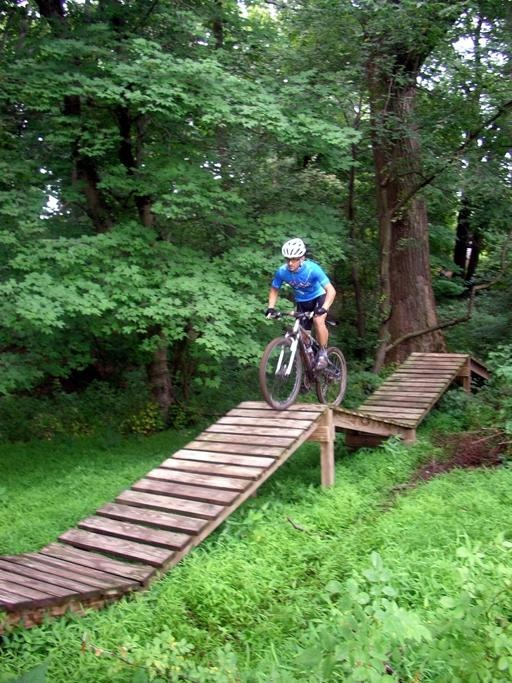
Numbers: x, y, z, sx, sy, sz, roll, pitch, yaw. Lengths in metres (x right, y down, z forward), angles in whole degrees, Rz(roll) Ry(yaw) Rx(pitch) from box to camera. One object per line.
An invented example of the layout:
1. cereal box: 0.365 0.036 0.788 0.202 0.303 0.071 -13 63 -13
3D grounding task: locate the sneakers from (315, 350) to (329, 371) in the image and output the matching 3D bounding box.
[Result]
1. sneakers: 0.762 0.217 6.847 0.146 0.197 0.346 -6 36 14

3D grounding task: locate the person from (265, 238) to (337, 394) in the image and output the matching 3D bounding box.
1. person: 0.508 -0.404 6.552 0.753 1.275 1.147 -7 -3 6

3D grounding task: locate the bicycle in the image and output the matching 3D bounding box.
1. bicycle: 0.268 0.303 6.868 0.817 0.868 1.640 2 -3 32

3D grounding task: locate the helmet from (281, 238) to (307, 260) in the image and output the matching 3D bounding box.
1. helmet: 0.401 -0.979 6.162 0.219 0.193 0.313 -6 -3 10
